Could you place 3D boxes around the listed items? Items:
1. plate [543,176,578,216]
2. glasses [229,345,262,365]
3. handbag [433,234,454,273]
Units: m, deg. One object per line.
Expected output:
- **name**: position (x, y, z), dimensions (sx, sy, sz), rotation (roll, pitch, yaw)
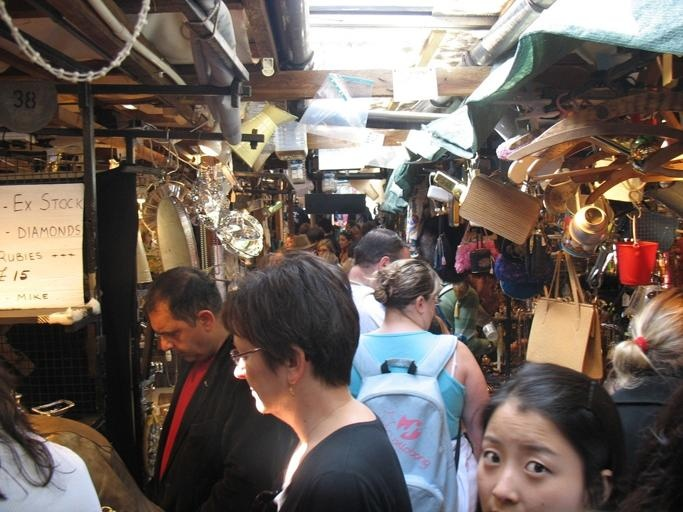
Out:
- **plate**: position (1.232, -0.333, 3.156), dimensions (0.178, 0.191, 0.183), rotation (-1, -1, 21)
- **glasses**: position (-0.337, 0.344, 1.956), dimensions (0.096, 0.027, 0.089), rotation (-13, -8, -14)
- **handbag**: position (0.924, -0.017, 5.070), dimensions (0.172, 0.351, 0.360), rotation (-4, -2, 1)
